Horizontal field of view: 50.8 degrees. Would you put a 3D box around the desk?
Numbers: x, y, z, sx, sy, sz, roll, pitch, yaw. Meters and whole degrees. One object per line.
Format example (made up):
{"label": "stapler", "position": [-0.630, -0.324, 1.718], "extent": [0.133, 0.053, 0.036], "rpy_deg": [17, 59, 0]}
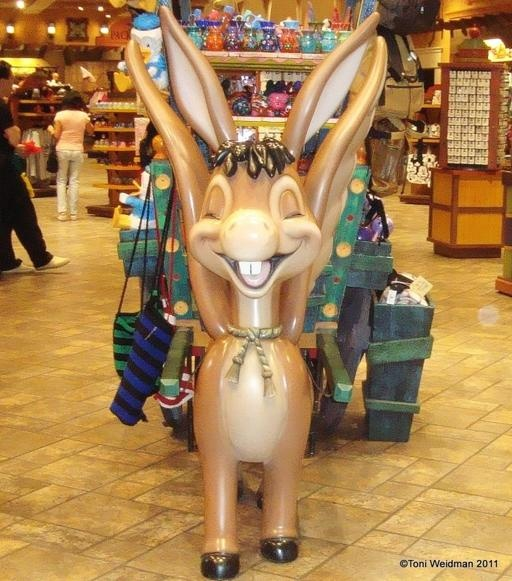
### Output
{"label": "desk", "position": [2.845, -1.058, 7.333], "extent": [0.959, 1.237, 0.468], "rpy_deg": [1, 4, 13]}

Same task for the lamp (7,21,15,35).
{"label": "lamp", "position": [-9.404, -9.937, 20.627], "extent": [0.192, 0.453, 0.298], "rpy_deg": [1, 4, 15]}

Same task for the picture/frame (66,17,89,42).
{"label": "picture/frame", "position": [-6.986, -10.084, 20.978], "extent": [1.264, 1.141, 0.059], "rpy_deg": [-1, -2, -4]}

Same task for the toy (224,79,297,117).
{"label": "toy", "position": [0.048, -0.992, 2.830], "extent": [0.316, 0.136, 0.388], "rpy_deg": [0, 5, 1]}

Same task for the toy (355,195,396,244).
{"label": "toy", "position": [0.585, -0.334, 2.642], "extent": [0.212, 0.251, 0.106], "rpy_deg": [-1, -9, 8]}

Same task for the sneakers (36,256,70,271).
{"label": "sneakers", "position": [-2.429, -0.334, 6.537], "extent": [0.466, 0.157, 0.151], "rpy_deg": [-10, 17, -6]}

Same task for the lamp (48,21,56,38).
{"label": "lamp", "position": [-7.952, -10.063, 20.936], "extent": [0.356, 0.528, 0.145], "rpy_deg": [-1, 4, -19]}

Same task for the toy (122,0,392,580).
{"label": "toy", "position": [-0.033, -0.047, 1.558], "extent": [0.566, 1.573, 0.652], "rpy_deg": [2, 5, 30]}

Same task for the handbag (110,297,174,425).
{"label": "handbag", "position": [-0.445, 0.269, 2.078], "extent": [0.145, 0.455, 0.309], "rpy_deg": [9, -13, -41]}
